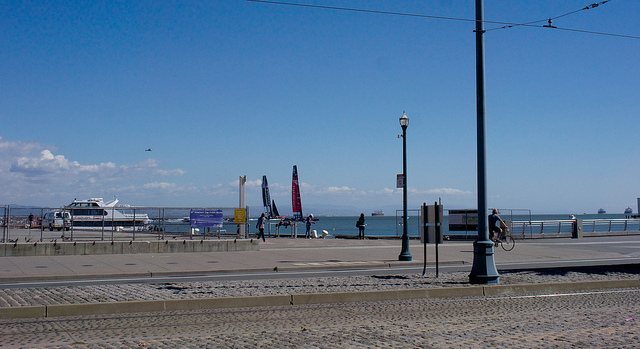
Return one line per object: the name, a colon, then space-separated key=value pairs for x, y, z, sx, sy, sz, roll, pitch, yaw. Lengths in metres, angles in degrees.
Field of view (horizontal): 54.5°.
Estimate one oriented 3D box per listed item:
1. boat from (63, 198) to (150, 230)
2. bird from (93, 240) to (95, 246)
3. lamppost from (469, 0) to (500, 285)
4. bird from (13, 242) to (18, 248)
boat: x=-13.074 y=2.239 z=37.307 sx=5.913 sy=1.789 sz=1.597 roll=0 pitch=12 yaw=10
bird: x=-12.081 y=3.679 z=32.959 sx=0.068 sy=0.231 sz=0.037 roll=5 pitch=-6 yaw=-39
lamppost: x=6.361 y=-1.334 z=24.264 sx=0.968 sy=11.132 sz=0.574 roll=1 pitch=-5 yaw=1
bird: x=-15.843 y=3.664 z=32.110 sx=0.204 sy=0.242 sz=0.331 roll=3 pitch=-5 yaw=-26
